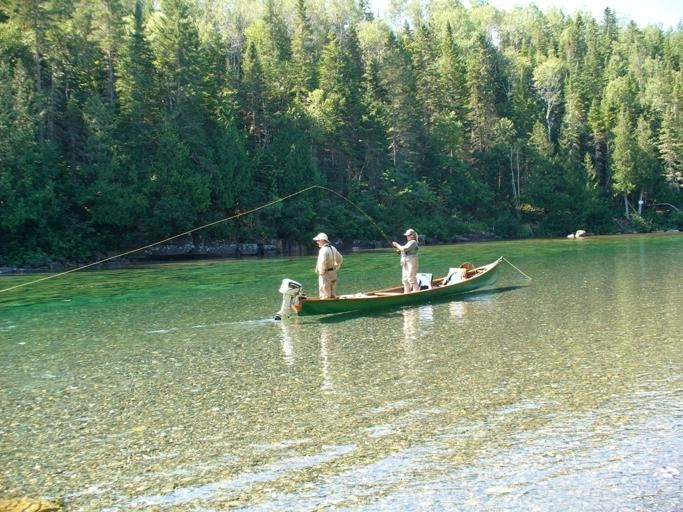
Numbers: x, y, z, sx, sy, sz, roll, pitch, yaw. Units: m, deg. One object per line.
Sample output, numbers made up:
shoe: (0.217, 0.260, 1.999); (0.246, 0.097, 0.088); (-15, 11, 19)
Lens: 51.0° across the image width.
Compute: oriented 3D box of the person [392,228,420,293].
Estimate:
person: (2.009, 0.328, 22.587); (1.050, 2.071, 0.746); (0, 0, 14)
